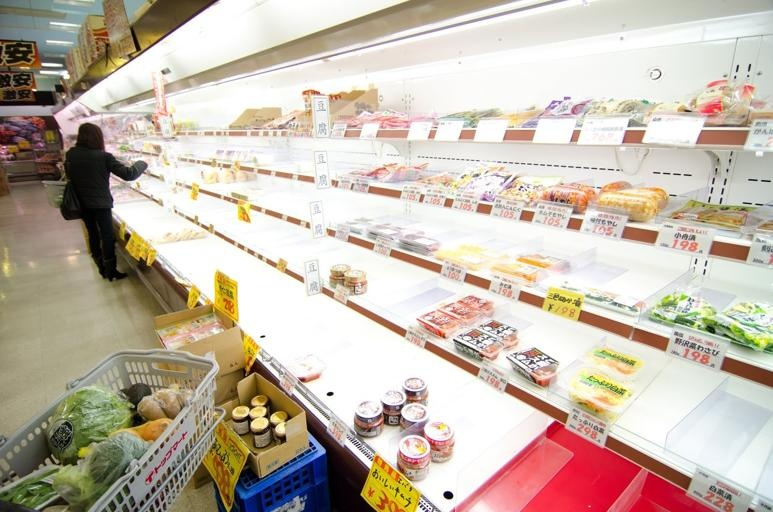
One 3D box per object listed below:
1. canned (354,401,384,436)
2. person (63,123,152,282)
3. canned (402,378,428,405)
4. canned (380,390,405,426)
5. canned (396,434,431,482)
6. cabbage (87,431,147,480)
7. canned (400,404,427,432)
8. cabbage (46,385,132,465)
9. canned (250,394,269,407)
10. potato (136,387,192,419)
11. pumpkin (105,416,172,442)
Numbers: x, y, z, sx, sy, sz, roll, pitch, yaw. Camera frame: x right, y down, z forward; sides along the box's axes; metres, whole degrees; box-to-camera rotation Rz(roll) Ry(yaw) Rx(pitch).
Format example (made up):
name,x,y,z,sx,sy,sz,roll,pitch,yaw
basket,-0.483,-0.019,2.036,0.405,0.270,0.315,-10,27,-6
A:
name,x,y,z,sx,sy,sz,roll,pitch,yaw
canned,-0.094,0.892,2.321,0.162,0.145,0.135,0,21,-2
person,-3.503,-0.771,5.677,1.055,2.281,1.034,-9,18,-27
canned,0.157,0.773,2.428,0.143,0.120,0.144,-9,23,-26
canned,0.017,0.844,2.419,0.173,0.141,0.161,-4,16,-13
canned,0.134,0.983,2.097,0.191,0.141,0.177,0,16,2
cabbage,-1.096,0.813,1.713,0.201,0.068,0.169,-19,67,-24
canned,0.144,0.854,2.260,0.137,0.114,0.128,1,16,7
cabbage,-1.431,0.797,1.997,0.370,0.314,0.296,7,49,-49
canned,-0.791,0.897,2.667,0.083,0.069,0.078,3,19,11
potato,-1.060,0.704,2.031,0.206,0.109,0.258,-16,6,-33
pumpkin,-1.102,0.786,1.905,0.248,0.093,0.114,2,5,-12
